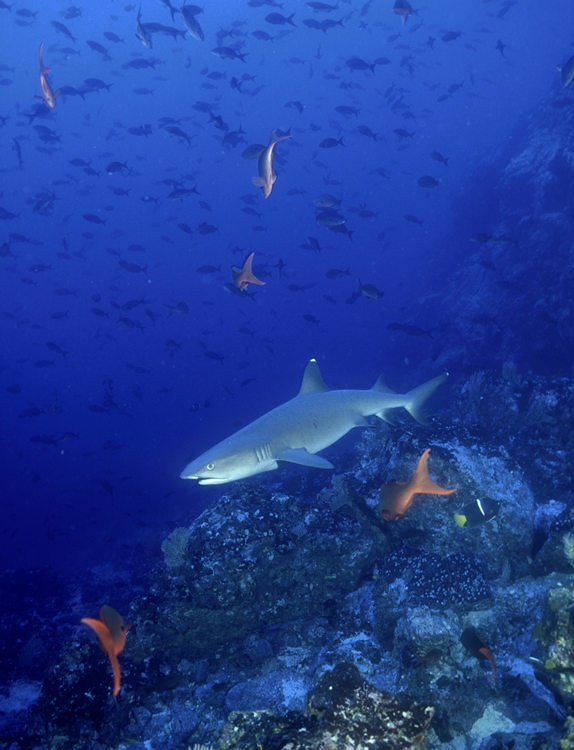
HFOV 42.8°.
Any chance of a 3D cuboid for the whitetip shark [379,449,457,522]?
[{"bbox_3d":[1.508,1.393,8.980,0.406,0.717,1.140,-17,-27,-28],"label":"whitetip shark"}]
